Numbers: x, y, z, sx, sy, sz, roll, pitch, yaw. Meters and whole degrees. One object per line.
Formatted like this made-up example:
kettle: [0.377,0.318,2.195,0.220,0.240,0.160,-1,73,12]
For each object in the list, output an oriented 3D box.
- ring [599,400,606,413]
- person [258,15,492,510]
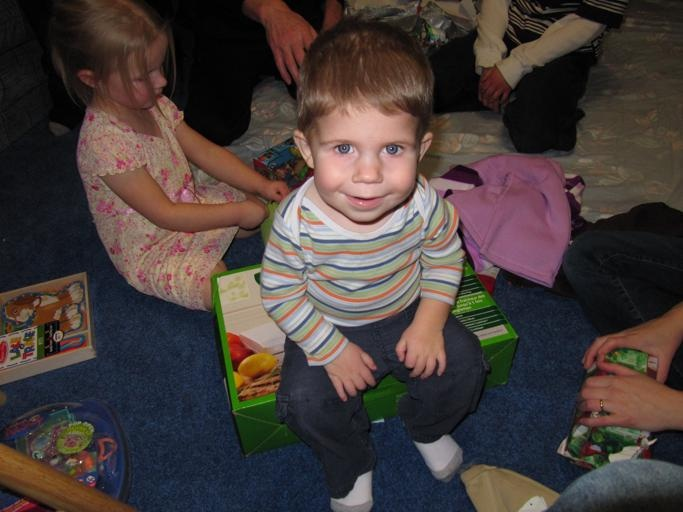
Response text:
ring: [0.676,0.388,1.481,0.007,0.024,0.025,-3,6,12]
person: [0.062,0.075,1.407,0.552,1.056,0.654,-13,46,-10]
